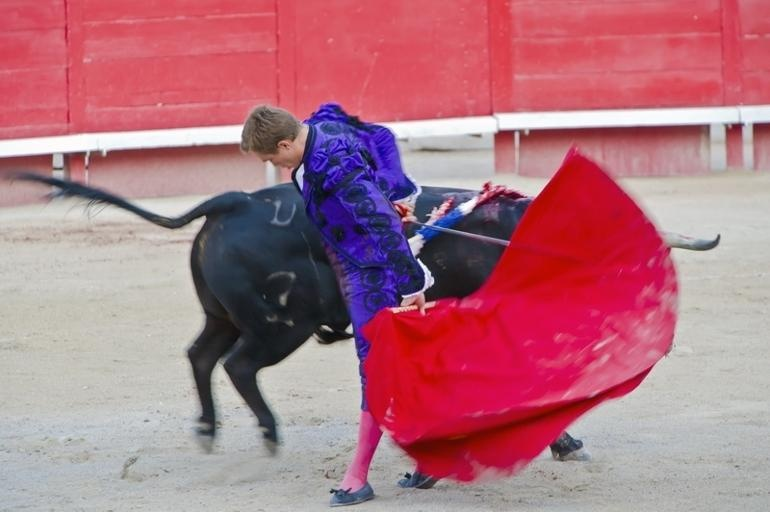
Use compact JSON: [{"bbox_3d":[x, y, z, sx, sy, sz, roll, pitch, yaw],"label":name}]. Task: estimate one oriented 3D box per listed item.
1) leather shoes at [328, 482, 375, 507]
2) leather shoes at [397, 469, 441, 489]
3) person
[{"bbox_3d":[-0.157,1.106,6.269,0.179,0.055,0.101,0,-1,-23],"label":"leather shoes"},{"bbox_3d":[0.157,1.067,6.443,0.240,0.089,0.078,-8,2,20],"label":"leather shoes"},{"bbox_3d":[-0.189,0.215,6.394,0.832,1.841,0.545,-2,7,1],"label":"person"}]
